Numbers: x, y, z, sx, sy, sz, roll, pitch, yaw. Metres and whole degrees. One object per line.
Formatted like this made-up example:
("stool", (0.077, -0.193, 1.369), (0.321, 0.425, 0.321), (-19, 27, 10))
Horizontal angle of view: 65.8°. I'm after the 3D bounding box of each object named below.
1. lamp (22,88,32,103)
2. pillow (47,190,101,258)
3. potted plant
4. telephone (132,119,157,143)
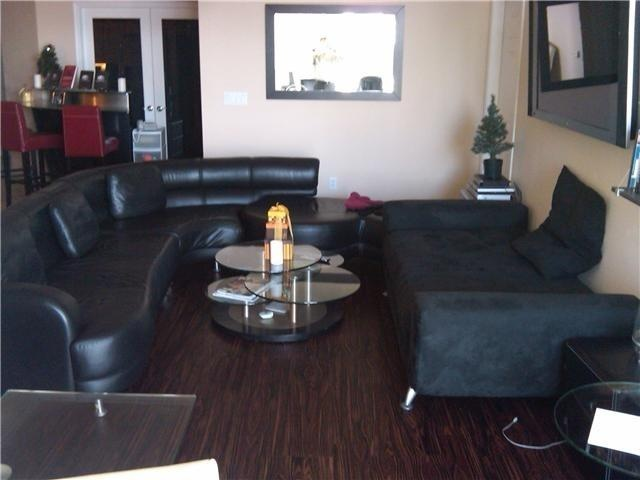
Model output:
("lamp", (-4.106, -2.018, 6.968), (0.114, 0.217, 0.114), (1, 26, -11))
("pillow", (-1.688, -0.104, 3.423), (0.090, 0.394, 0.385), (-12, 36, 6))
("potted plant", (1.571, -0.943, 4.502), (0.342, 0.724, 0.943), (5, 21, 17))
("telephone", (-2.361, -1.490, 6.727), (0.366, 0.261, 0.358), (5, 30, -2))
